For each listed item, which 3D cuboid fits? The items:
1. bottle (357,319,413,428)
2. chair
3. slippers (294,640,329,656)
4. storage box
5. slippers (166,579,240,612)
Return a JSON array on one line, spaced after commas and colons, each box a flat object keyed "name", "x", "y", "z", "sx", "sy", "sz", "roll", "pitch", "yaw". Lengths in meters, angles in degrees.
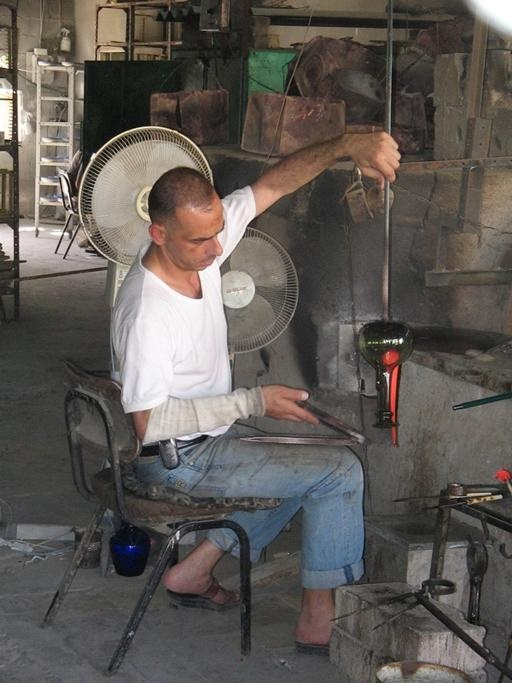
[{"name": "bottle", "x": 0.321, "y": 0.084, "z": 1.848, "sx": 0.135, "sy": 0.284, "sz": 0.203, "roll": 4, "pitch": 10, "yaw": 3}, {"name": "chair", "x": -0.288, "y": 0.489, "z": 2.125, "sx": 0.746, "sy": 0.693, "sz": 0.716, "roll": 4, "pitch": -1, "yaw": 13}, {"name": "slippers", "x": 0.161, "y": 0.867, "z": 2.106, "sx": 0.099, "sy": 0.028, "sz": 0.033, "roll": 2, "pitch": -2, "yaw": 12}, {"name": "storage box", "x": 0.130, "y": -0.930, "z": 3.178, "sx": 0.494, "sy": 0.252, "sz": 0.470, "roll": -16, "pitch": 26, "yaw": -34}, {"name": "slippers", "x": -0.151, "y": 0.817, "z": 2.406, "sx": 0.269, "sy": 0.079, "sz": 0.086, "roll": 2, "pitch": 14, "yaw": -11}]
